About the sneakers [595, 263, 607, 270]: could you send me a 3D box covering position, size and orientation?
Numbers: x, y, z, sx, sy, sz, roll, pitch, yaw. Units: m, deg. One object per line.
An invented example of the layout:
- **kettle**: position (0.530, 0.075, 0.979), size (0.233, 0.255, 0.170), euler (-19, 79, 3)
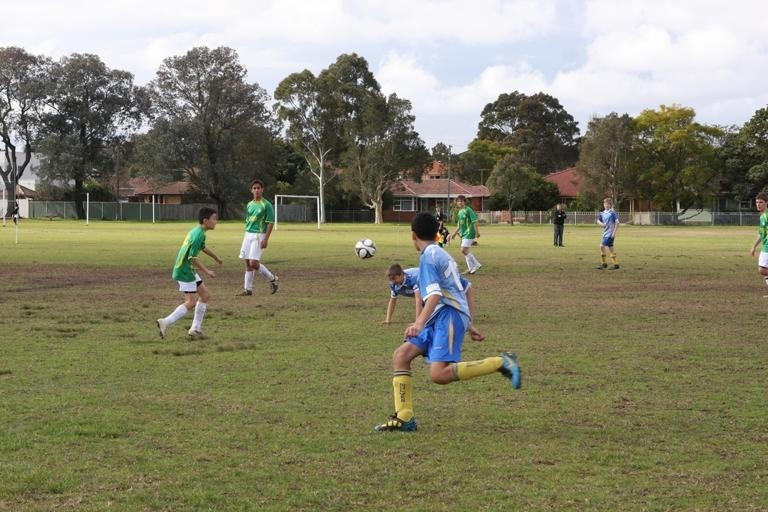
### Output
- **sneakers**: position (5.656, 0.275, 24.877), size (0.124, 0.155, 0.347), euler (-3, 4, -15)

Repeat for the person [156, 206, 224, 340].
- **person**: position (-3.191, 0.290, 15.621), size (0.857, 2.047, 1.437), euler (1, 14, 2)

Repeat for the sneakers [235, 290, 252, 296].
- **sneakers**: position (-2.874, 0.779, 19.309), size (0.369, 0.157, 0.118), euler (5, -14, 0)

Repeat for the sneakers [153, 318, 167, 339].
- **sneakers**: position (-3.583, 1.144, 15.240), size (0.221, 0.406, 0.140), euler (-6, 9, -18)

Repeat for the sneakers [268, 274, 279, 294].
- **sneakers**: position (-2.242, 0.582, 19.372), size (0.177, 0.387, 0.142), euler (0, 4, -17)

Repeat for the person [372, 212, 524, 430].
- **person**: position (0.717, 0.831, 12.165), size (1.626, 2.694, 0.838), euler (0, 15, -1)

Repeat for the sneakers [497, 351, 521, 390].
- **sneakers**: position (1.624, 1.472, 12.262), size (0.266, 0.537, 0.200), euler (-18, -10, -9)

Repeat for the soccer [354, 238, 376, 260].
- **soccer**: position (-0.349, -0.131, 18.704), size (0.399, 0.372, 0.382), euler (-1, -1, -16)

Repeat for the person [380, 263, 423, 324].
- **person**: position (0.292, 0.522, 14.077), size (0.468, 0.883, 1.223), euler (-1, 10, 13)

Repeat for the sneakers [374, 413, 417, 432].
- **sneakers**: position (0.146, 2.119, 12.111), size (0.550, 0.234, 0.212), euler (2, -5, 1)

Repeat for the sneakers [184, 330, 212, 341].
- **sneakers**: position (-3.033, 1.290, 15.425), size (0.346, 0.144, 0.114), euler (4, -6, -4)

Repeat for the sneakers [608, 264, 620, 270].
- **sneakers**: position (5.926, 0.302, 24.595), size (0.338, 0.215, 0.120), euler (5, -3, 12)
